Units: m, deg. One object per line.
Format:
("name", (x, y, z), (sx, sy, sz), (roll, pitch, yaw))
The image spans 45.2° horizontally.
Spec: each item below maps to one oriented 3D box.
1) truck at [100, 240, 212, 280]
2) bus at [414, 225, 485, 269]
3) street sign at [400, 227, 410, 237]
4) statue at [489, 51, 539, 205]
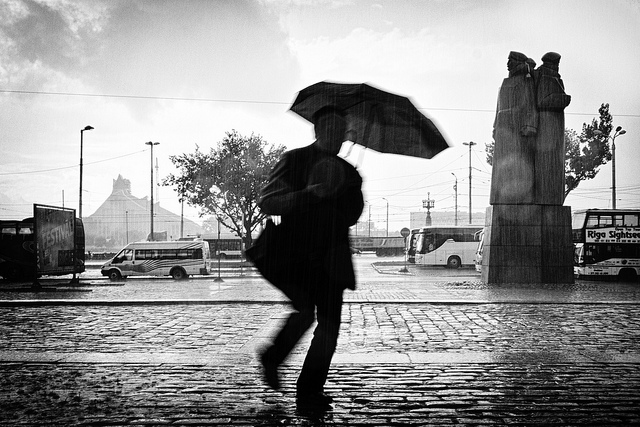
("truck", (-7.851, 2.253, 37.237), (4.718, 1.745, 1.059), (-1, 7, -7))
("bus", (7.929, 2.013, 48.507), (5.114, 2.055, 1.757), (1, 0, 1))
("street sign", (4.910, 1.071, 44.778), (0.715, 0.774, 0.210), (-2, 8, -6))
("statue", (6.784, -2.954, 26.747), (1.744, 5.415, 2.153), (4, -3, -7))
